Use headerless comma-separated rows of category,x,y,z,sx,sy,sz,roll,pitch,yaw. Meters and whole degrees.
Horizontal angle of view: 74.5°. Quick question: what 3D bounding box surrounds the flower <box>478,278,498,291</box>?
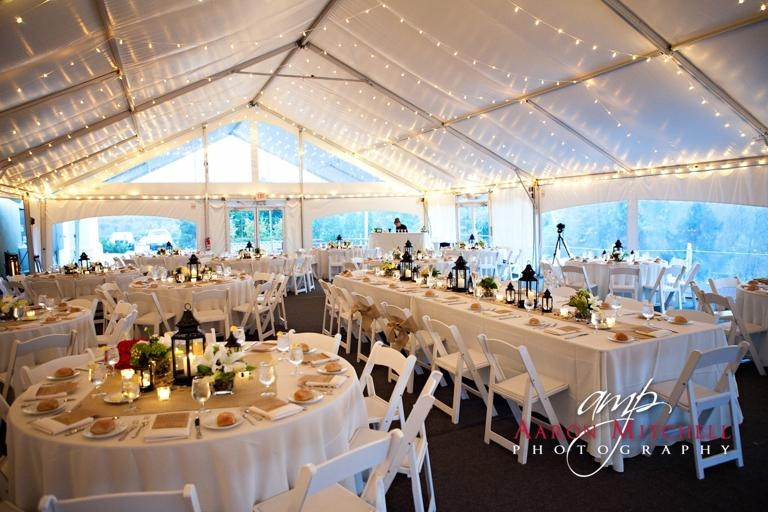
flower,1.444,0.376,6.874,0.162,0.184,0.172,-3,12,-18

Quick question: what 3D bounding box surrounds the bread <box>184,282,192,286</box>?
bread,-3.222,0.475,8.316,0.071,0.027,0.123,1,3,-11

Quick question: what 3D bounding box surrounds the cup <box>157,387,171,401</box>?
cup,-1.860,1.149,4.261,0.107,0.111,0.098,1,3,0

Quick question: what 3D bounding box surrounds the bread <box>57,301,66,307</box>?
bread,-4.336,0.651,6.776,0.102,0.059,0.100,1,0,-43

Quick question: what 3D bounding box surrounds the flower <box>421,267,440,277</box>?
flower,0.740,0.270,8.182,0.193,0.141,0.200,3,2,37

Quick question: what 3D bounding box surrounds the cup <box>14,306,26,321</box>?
cup,-4.542,0.704,6.271,0.121,0.148,0.126,-1,-8,0

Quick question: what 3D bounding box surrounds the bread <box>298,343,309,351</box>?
bread,-0.785,0.908,5.017,0.118,0.039,0.123,3,5,9

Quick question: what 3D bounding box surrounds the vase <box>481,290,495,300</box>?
vase,1.432,0.527,6.870,0.122,0.097,0.127,1,0,-11

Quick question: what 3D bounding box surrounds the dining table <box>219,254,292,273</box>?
dining table,-3.094,0.214,12.418,1.550,0.413,0.642,-1,3,-14

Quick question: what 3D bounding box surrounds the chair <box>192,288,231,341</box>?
chair,-2.495,0.819,7.268,0.501,0.959,0.662,-4,30,-15

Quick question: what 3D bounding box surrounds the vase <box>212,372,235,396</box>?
vase,-1.362,1.077,4.301,0.174,0.185,0.176,2,8,-14

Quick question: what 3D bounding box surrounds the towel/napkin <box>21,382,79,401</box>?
towel/napkin,-2.877,1.151,4.328,0.205,0.040,0.217,-3,5,-21

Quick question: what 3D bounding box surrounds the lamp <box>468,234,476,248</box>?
lamp,2.428,-0.393,13.787,0.167,0.352,0.822,0,3,11

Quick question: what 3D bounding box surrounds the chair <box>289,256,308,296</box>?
chair,-2.187,0.470,12.885,0.460,0.933,1.807,-1,3,-11

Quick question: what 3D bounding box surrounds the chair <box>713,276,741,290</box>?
chair,5.285,0.451,7.743,0.286,0.232,0.277,6,23,31

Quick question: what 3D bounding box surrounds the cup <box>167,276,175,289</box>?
cup,-3.578,0.446,8.450,0.155,0.189,0.157,0,-3,0

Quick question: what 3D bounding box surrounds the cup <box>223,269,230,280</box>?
cup,-2.944,0.348,9.387,0.149,0.241,0.147,0,4,0

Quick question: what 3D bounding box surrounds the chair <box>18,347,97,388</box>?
chair,-3.032,1.024,4.683,0.317,0.425,0.428,5,8,35

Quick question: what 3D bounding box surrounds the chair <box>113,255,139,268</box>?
chair,-6.782,0.148,13.236,0.330,0.495,0.268,2,6,14

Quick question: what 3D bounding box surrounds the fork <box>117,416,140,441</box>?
fork,-1.962,1.337,3.917,0.047,0.036,0.242,18,13,-17

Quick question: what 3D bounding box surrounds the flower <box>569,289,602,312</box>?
flower,2.288,0.510,5.854,0.282,0.257,0.279,-5,3,-36

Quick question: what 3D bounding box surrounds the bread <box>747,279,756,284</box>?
bread,5.488,0.383,7.490,0.151,0.049,0.155,2,7,36

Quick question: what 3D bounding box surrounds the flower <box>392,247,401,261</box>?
flower,0.313,-0.026,11.822,0.253,0.297,0.263,1,-2,41

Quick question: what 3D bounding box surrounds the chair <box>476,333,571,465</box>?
chair,1.491,1.429,5.347,0.883,1.226,0.789,1,3,23

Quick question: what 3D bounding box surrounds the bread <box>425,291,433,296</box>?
bread,0.651,0.536,7.183,0.062,0.038,0.064,5,10,20

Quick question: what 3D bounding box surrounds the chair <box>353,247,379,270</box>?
chair,-0.462,0.073,13.287,0.558,0.886,0.620,0,-1,-5

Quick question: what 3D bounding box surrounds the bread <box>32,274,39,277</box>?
bread,-6.763,0.384,9.759,0.105,0.053,0.152,0,2,-15

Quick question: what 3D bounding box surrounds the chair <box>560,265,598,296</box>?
chair,3.602,0.437,9.234,0.493,0.715,0.373,-13,17,-35

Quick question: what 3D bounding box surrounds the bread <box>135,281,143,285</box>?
bread,-4.123,0.451,8.528,0.084,0.039,0.106,2,3,-7

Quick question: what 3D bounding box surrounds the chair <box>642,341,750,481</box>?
chair,3.224,1.461,5.048,0.992,1.281,0.622,-2,3,-30

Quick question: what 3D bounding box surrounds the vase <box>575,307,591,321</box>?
vase,2.264,0.666,5.730,0.125,0.097,0.123,3,-4,-44

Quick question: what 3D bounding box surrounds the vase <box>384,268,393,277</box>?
vase,0.082,0.298,8.887,0.120,0.133,0.126,-6,16,-28

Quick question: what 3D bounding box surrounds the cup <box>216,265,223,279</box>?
cup,-3.405,0.336,10.413,0.147,0.249,0.153,2,7,0

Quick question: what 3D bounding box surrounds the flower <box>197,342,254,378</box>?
flower,-1.404,0.903,4.362,0.305,0.137,0.302,3,5,-37

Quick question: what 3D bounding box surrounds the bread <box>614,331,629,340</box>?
bread,2.419,0.811,5.114,0.085,0.045,0.103,1,1,9

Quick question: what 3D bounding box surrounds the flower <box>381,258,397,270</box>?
flower,0.114,0.147,9.002,0.182,0.136,0.185,-1,3,-26

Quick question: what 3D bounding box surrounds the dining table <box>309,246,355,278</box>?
dining table,-1.467,0.151,14.555,0.993,0.709,1.004,-2,5,-25

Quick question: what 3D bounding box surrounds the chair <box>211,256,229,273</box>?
chair,-3.792,0.203,11.656,0.284,0.186,0.297,2,5,21

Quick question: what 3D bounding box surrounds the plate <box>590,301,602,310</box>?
plate,2.518,0.589,5.967,0.151,0.077,0.158,-2,1,0

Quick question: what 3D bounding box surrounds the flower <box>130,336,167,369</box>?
flower,-2.113,0.845,4.527,0.242,0.226,0.253,1,1,-28

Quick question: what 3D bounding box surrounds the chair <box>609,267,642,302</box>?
chair,4.381,0.504,9.075,0.369,0.692,0.468,6,33,24

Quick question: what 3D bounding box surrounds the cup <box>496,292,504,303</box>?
cup,1.567,0.558,6.797,0.094,0.097,0.096,2,-4,0
